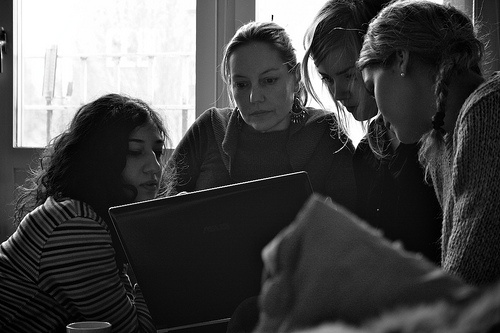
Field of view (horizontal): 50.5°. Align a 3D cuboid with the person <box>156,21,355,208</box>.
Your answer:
[{"bbox_3d":[0.040,-0.130,2.161,0.911,0.832,0.506,4,4,22],"label":"person"}]

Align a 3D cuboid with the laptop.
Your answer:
[{"bbox_3d":[-0.101,0.189,1.450,0.495,0.357,0.353,-13,-5,3],"label":"laptop"}]
